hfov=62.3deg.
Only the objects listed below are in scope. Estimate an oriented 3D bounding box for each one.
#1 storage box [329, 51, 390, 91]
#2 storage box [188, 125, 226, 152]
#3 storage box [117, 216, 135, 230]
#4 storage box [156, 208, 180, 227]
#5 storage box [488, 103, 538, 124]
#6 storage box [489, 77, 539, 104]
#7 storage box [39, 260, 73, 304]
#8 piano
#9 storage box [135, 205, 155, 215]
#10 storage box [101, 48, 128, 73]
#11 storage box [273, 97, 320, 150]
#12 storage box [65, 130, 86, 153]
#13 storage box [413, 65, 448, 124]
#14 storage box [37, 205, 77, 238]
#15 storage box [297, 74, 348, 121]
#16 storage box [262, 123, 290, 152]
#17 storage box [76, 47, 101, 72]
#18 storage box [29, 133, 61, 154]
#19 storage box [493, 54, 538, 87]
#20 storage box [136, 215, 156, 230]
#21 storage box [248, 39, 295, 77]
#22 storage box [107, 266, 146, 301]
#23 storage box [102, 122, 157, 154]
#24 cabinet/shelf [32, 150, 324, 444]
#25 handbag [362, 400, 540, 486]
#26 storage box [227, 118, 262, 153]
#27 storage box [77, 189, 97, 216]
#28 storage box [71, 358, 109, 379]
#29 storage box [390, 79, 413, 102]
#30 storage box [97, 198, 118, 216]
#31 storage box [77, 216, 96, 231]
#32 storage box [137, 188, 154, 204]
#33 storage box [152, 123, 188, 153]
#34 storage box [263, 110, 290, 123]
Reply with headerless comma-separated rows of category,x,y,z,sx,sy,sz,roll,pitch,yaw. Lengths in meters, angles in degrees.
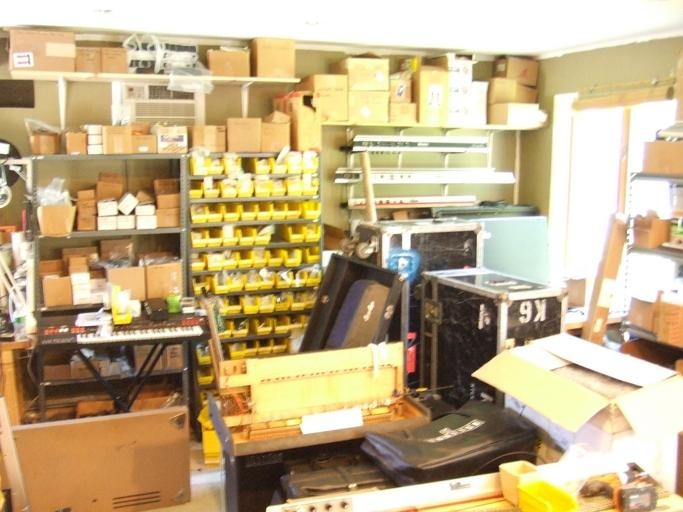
storage box,0.164,-1.643,5.228,0.379,0.260,0.469,-5,13,-19
storage box,-1.132,-0.953,4.676,0.272,0.175,0.266,-4,8,-45
storage box,-1.685,-0.261,4.375,0.128,0.101,0.063,0,5,-27
storage box,-1.378,-0.307,4.471,0.179,0.109,0.161,-2,5,-23
storage box,1.709,-1.419,5.617,0.419,0.180,0.270,-2,8,-21
storage box,1.748,-1.665,5.729,0.468,0.279,0.147,0,0,-8
storage box,-2.197,0.207,4.319,0.211,0.309,0.386,-7,10,-27
piano,-1.489,0.494,3.832,1.112,0.149,0.440,-4,8,-13
storage box,-1.536,-0.357,4.407,0.111,0.056,0.101,-2,7,-18
storage box,-1.808,-1.539,4.459,0.208,0.198,0.073,-5,10,-18
storage box,-0.379,-1.120,4.835,0.326,0.502,0.418,-9,17,-26
storage box,-2.017,-0.858,4.289,0.151,0.160,0.080,-5,10,-17
storage box,0.856,-1.526,5.399,0.330,0.542,0.091,-6,11,-19
storage box,-2.099,-0.252,4.246,0.315,0.189,0.234,1,-6,7
storage box,-0.108,-1.398,5.053,0.472,0.392,0.432,-5,14,-16
storage box,-0.575,-0.997,4.792,0.286,0.228,0.260,-3,11,-17
storage box,-1.977,-1.526,4.375,0.225,0.179,0.149,1,9,-31
storage box,-2.285,-0.866,4.348,0.222,0.130,0.166,-5,11,-30
storage box,1.801,-1.894,5.851,0.385,0.200,0.343,2,14,-9
storage box,-1.537,-0.261,4.423,0.216,0.120,0.108,-1,8,-24
storage box,-0.589,-1.673,4.849,0.392,0.324,0.357,0,12,-5
storage box,-1.600,0.196,4.250,0.288,0.233,0.270,-3,8,-18
storage box,-1.700,-0.891,4.456,0.346,0.174,0.311,-3,7,-24
cabinet/shelf,-1.302,0.261,4.166,2.723,2.192,0.776,-3,6,-29
handbag,0.504,0.809,2.445,0.489,0.118,0.351,-3,6,-24
storage box,-0.821,-0.998,4.692,0.332,0.270,0.304,-3,10,-17
storage box,-1.955,-0.409,4.320,0.149,0.197,0.076,-10,12,-39
storage box,-2.043,0.888,4.504,0.222,0.112,0.206,-2,4,-27
storage box,0.555,-1.554,5.333,0.257,0.214,0.241,12,22,33
storage box,-1.795,-0.374,4.323,0.135,0.115,0.100,-4,8,-45
storage box,-1.954,-0.250,4.312,0.132,0.105,0.096,-1,-1,0
storage box,-1.577,-0.470,4.525,0.142,0.084,0.125,19,33,-23
storage box,-1.391,-0.926,4.504,0.270,0.224,0.186,-3,5,-18
storage box,-0.575,-1.174,4.826,0.155,0.092,0.159,12,14,44
